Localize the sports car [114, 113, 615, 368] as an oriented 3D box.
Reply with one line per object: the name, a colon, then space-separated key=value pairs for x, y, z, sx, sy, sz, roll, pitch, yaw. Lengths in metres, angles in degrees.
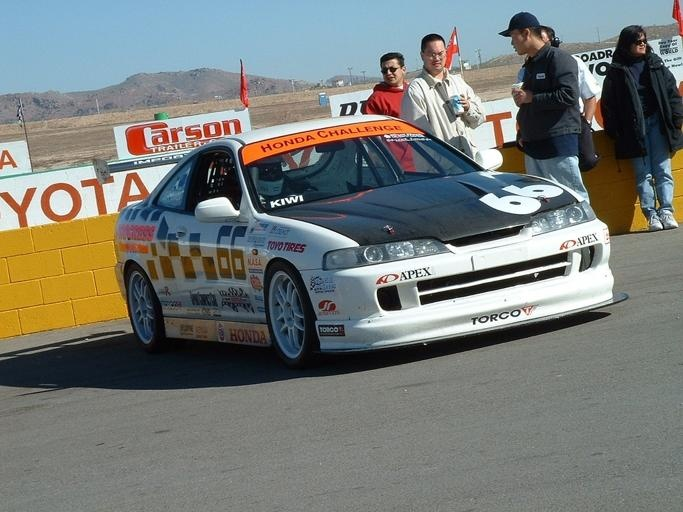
sports car: x=-0.073 y=-0.255 z=5.892 sx=3.764 sy=1.876 sz=1.919 roll=-4 pitch=10 yaw=43

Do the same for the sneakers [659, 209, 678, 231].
sneakers: x=4.190 y=-0.466 z=9.030 sx=0.217 sy=0.250 sz=0.179 roll=-10 pitch=7 yaw=4

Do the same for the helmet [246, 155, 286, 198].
helmet: x=-0.605 y=-0.650 z=5.807 sx=0.273 sy=0.286 sz=0.345 roll=-8 pitch=-3 yaw=-19

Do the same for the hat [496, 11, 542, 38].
hat: x=1.862 y=-2.447 z=7.404 sx=0.393 sy=0.230 sz=0.986 roll=-8 pitch=6 yaw=15
